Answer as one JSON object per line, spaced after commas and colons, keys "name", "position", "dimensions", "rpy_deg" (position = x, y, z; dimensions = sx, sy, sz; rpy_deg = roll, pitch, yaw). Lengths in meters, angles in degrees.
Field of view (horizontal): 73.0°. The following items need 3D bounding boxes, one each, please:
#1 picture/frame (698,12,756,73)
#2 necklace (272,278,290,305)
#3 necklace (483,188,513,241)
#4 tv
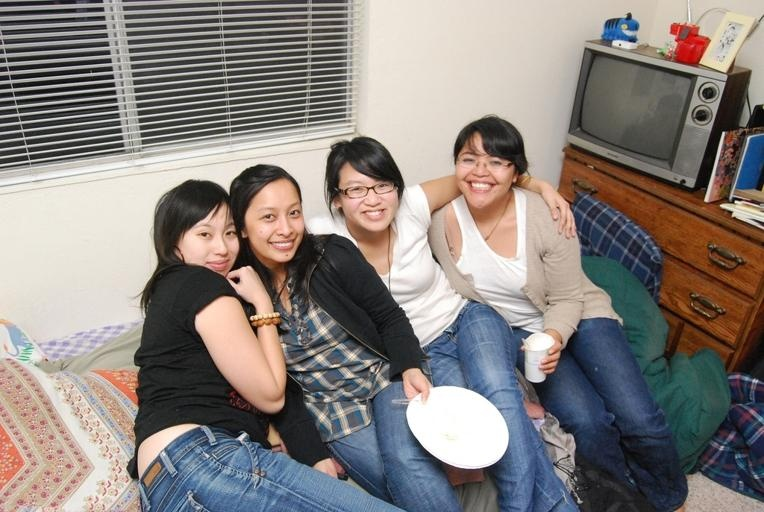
{"name": "picture/frame", "position": [1.801, -1.120, 2.707], "dimensions": [0.237, 0.262, 0.167], "rpy_deg": [-19, 30, -27]}
{"name": "necklace", "position": [-0.402, 0.147, 2.089], "dimensions": [0.068, 0.087, 0.090], "rpy_deg": [4, 9, 0]}
{"name": "necklace", "position": [0.536, -0.174, 2.398], "dimensions": [0.081, 0.291, 0.049], "rpy_deg": [19, 5, 27]}
{"name": "tv", "position": [1.582, -0.787, 2.887], "dimensions": [0.429, 0.570, 0.691], "rpy_deg": [-25, 45, -33]}
